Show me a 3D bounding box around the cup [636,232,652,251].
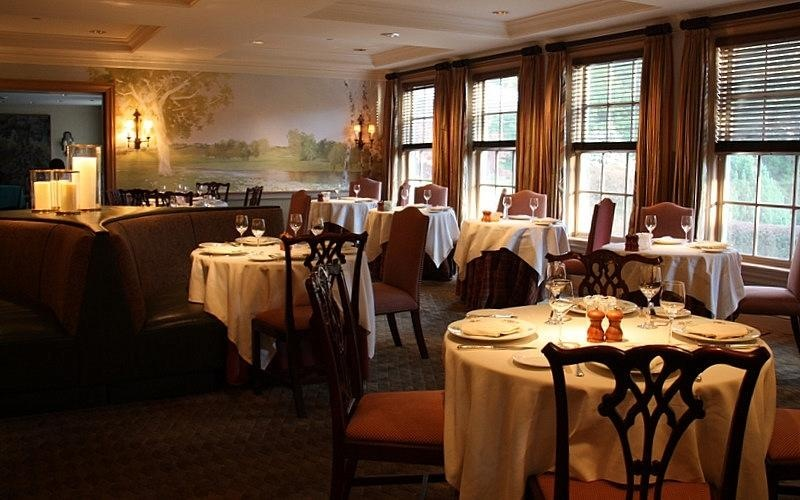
[{"bbox_3d":[2.431,-0.092,5.461,0.188,0.184,0.137,-4,0,-36],"label":"cup"}]

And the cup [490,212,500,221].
[{"bbox_3d":[1.208,-0.457,7.018,0.113,0.142,0.124,-3,9,1],"label":"cup"}]

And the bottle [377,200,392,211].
[{"bbox_3d":[-0.231,-0.703,8.197,0.177,0.163,0.176,-3,7,-2],"label":"bottle"}]

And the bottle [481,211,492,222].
[{"bbox_3d":[1.101,-0.449,6.921,0.135,0.131,0.136,1,-4,0],"label":"bottle"}]

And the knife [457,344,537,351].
[{"bbox_3d":[0.513,0.512,2.875,0.420,0.013,0.052,1,15,2],"label":"knife"}]

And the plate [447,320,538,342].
[{"bbox_3d":[0.512,0.444,3.017,0.492,0.058,0.247,2,15,7],"label":"plate"}]

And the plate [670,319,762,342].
[{"bbox_3d":[1.700,0.439,2.955,0.229,0.032,0.223,-4,7,-37],"label":"plate"}]

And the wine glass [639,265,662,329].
[{"bbox_3d":[1.412,0.256,3.066,0.121,0.342,0.120,2,-7,27],"label":"wine glass"}]

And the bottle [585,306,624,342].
[{"bbox_3d":[1.112,0.390,2.951,0.193,0.161,0.219,3,15,8],"label":"bottle"}]

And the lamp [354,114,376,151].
[{"bbox_3d":[-0.855,-2.632,11.898,0.493,0.747,0.576,-4,15,-22],"label":"lamp"}]

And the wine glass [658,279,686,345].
[{"bbox_3d":[1.516,0.298,3.026,0.123,0.322,0.322,8,17,26],"label":"wine glass"}]

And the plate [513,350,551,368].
[{"bbox_3d":[0.658,0.537,2.743,0.173,0.036,0.211,3,16,9],"label":"plate"}]
